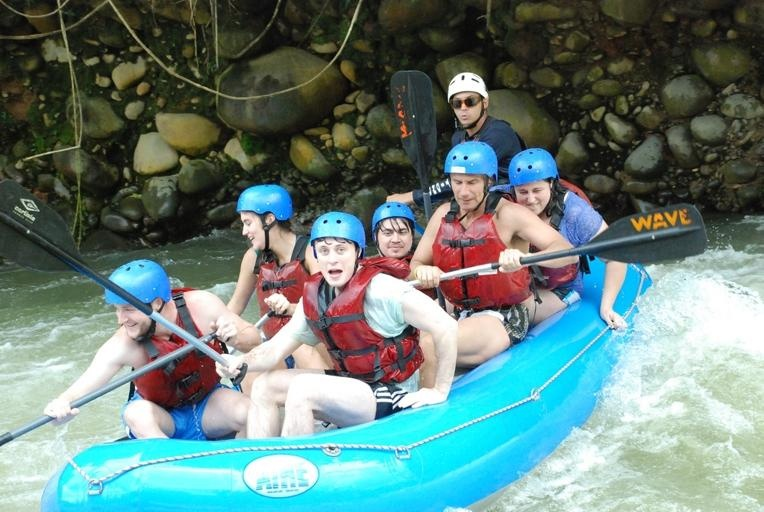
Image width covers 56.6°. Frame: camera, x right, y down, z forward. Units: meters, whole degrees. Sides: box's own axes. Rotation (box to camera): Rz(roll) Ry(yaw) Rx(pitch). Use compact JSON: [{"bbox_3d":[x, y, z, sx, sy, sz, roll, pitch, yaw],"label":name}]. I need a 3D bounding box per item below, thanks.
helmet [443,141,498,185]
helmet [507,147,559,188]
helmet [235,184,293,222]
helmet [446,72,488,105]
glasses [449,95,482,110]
[{"bbox_3d":[0.718,-0.727,5.500,0.269,0.262,0.336,0,-7,19],"label":"helmet"},{"bbox_3d":[1.229,-0.723,5.782,0.270,0.278,0.361,-13,-20,11],"label":"helmet"},{"bbox_3d":[-0.942,-0.444,5.627,0.359,0.209,0.282,-6,12,-20],"label":"helmet"},{"bbox_3d":[0.770,-1.548,6.456,0.276,0.388,0.303,-3,8,8],"label":"helmet"},{"bbox_3d":[0.763,-1.375,6.356,0.283,0.106,0.099,-6,5,7],"label":"glasses"}]
